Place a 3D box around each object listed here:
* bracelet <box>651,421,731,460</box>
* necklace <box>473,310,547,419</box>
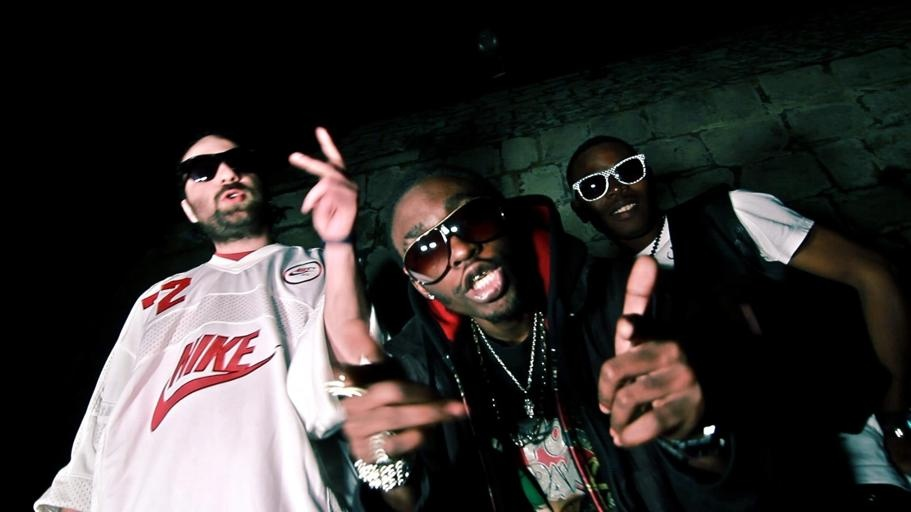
[{"bbox_3d":[1.685,1.295,4.886,0.375,0.113,0.250,-16,-25,13],"label":"bracelet"},{"bbox_3d":[0.542,0.780,5.351,0.489,0.775,0.058,-23,-14,16],"label":"necklace"}]
